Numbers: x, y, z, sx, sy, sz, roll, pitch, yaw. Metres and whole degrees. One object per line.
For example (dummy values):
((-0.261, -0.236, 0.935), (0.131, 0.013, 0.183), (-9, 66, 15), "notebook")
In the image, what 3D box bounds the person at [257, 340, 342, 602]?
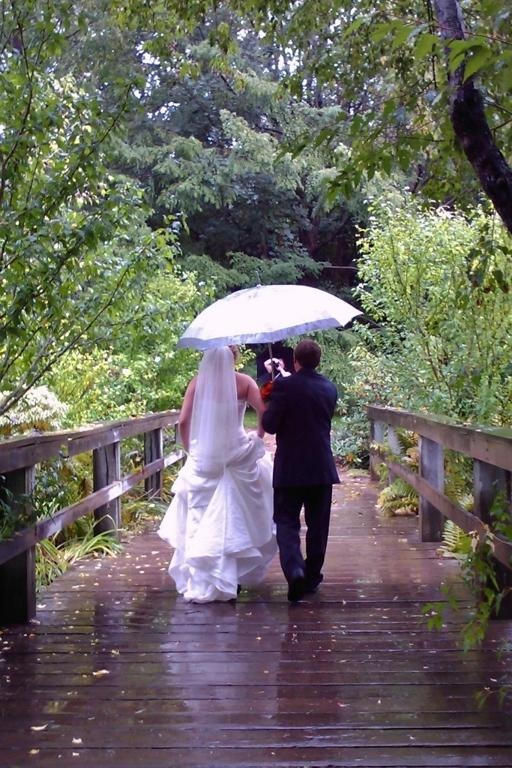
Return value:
((0.223, 0.462, 3.832), (0.347, 1.433, 0.454), (-2, -3, 29), "person")

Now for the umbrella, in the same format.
((0.072, -0.432, 4.199), (0.990, 0.452, 0.718), (2, -4, -43), "umbrella")
